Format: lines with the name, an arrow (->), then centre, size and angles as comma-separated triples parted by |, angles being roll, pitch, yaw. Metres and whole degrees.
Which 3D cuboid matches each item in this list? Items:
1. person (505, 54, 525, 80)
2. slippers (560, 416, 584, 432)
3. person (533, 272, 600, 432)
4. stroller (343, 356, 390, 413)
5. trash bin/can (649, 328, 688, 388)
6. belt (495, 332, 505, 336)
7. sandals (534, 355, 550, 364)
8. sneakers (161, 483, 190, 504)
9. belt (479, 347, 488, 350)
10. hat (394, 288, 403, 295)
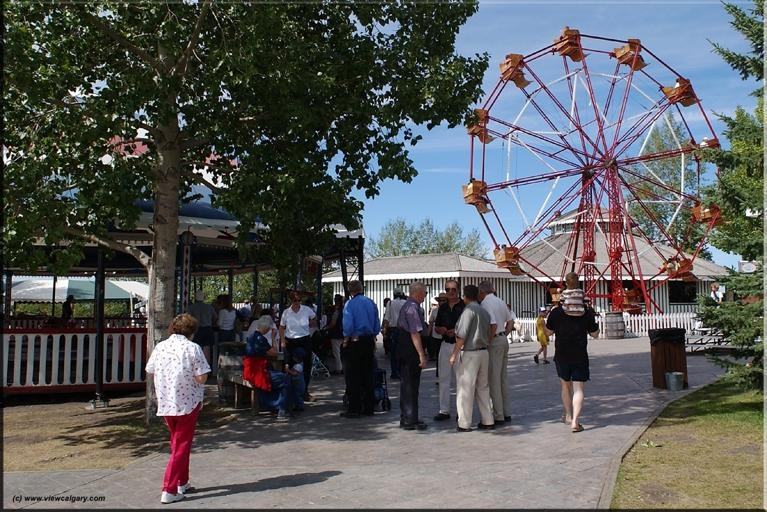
person -> 5.901, -8.419, 29.853 | 0.864, 1.103, 0.997 | -4, -7, 12
slippers -> 3.386, 3.028, 11.847 | 0.254, 0.262, 0.721 | 2, -4, 2
person -> 3.431, 1.724, 11.956 | 0.816, 2.806, 0.595 | 1, -7, -28
stroller -> -0.433, 2.833, 13.944 | 0.798, 1.199, 1.059 | -1, -11, 6
trash bin/can -> 6.573, 2.355, 15.169 | 0.766, 1.373, 0.554 | -5, -7, 25
belt -> 2.210, 1.471, 12.427 | 0.251, 0.085, 0.041 | 2, -8, -31
sandals -> 5.054, 3.254, 20.719 | 0.649, 0.299, 0.231 | 2, -4, -18
sneakers -> -2.822, 3.241, 9.012 | 0.136, 0.170, 0.422 | 1, 2, 28
belt -> 1.826, 1.669, 11.950 | 0.077, 0.046, 0.241 | -7, -9, 32
hat -> 0.429, 1.036, 19.330 | 0.267, 0.137, 0.384 | 1, -3, 3
